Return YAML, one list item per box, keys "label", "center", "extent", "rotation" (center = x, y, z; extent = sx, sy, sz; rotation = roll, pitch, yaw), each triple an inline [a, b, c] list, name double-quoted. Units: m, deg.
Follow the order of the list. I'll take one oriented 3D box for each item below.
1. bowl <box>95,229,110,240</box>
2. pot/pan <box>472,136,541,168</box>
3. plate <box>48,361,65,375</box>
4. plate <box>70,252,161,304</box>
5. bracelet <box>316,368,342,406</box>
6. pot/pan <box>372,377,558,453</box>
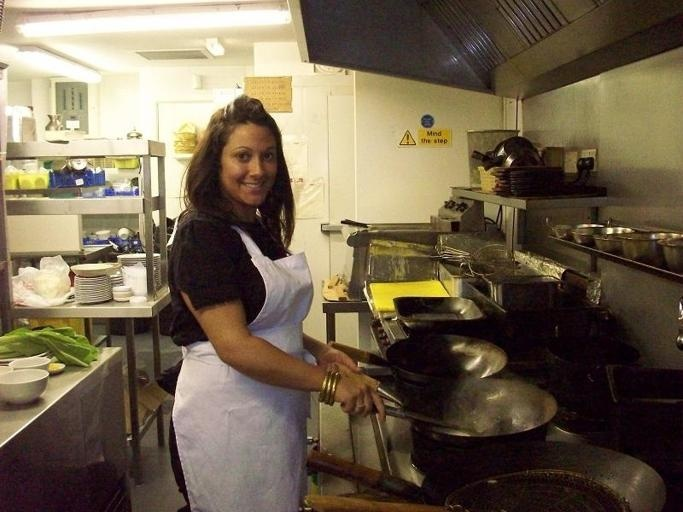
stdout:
- label: "bowl"
  center: [-2.723, -0.242, 6.147]
  extent: [0.152, 0.099, 0.149]
  rotation: [-1, -2, 0]
- label: "pot/pan"
  center: [0.822, -0.546, 2.812]
  extent: [0.375, 0.170, 0.376]
  rotation: [-8, 11, -43]
- label: "plate"
  center: [-1.257, 0.495, 2.372]
  extent: [0.054, 0.043, 0.074]
  rotation: [-3, 9, -18]
- label: "plate"
  center: [-1.407, 0.145, 3.322]
  extent: [0.344, 0.186, 0.438]
  rotation: [-2, -1, -11]
- label: "bracelet"
  center: [-0.033, 0.386, 1.586]
  extent: [0.092, 0.090, 0.073]
  rotation: [15, -1, 3]
- label: "pot/pan"
  center: [0.422, 0.453, 1.680]
  extent: [0.374, 0.083, 0.256]
  rotation: [-2, 3, 29]
